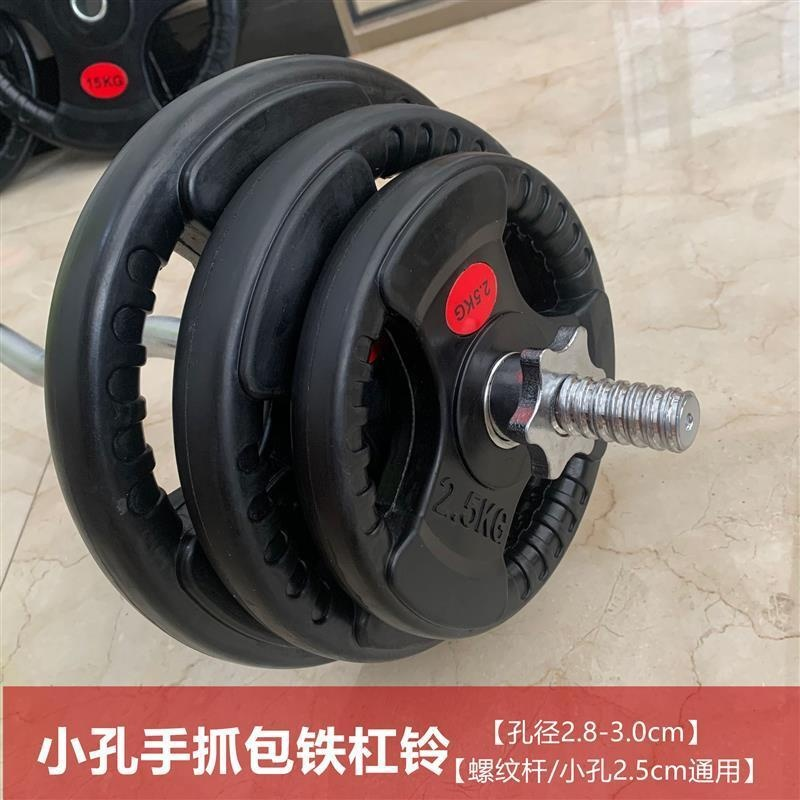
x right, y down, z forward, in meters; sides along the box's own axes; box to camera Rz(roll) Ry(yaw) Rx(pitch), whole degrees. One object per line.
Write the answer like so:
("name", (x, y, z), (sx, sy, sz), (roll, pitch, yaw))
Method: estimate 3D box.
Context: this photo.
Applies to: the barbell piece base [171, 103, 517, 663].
("barbell piece base", (-0.040, -0.012, 0.631), (0.120, 0.357, 0.363), (7, 46, 19))
